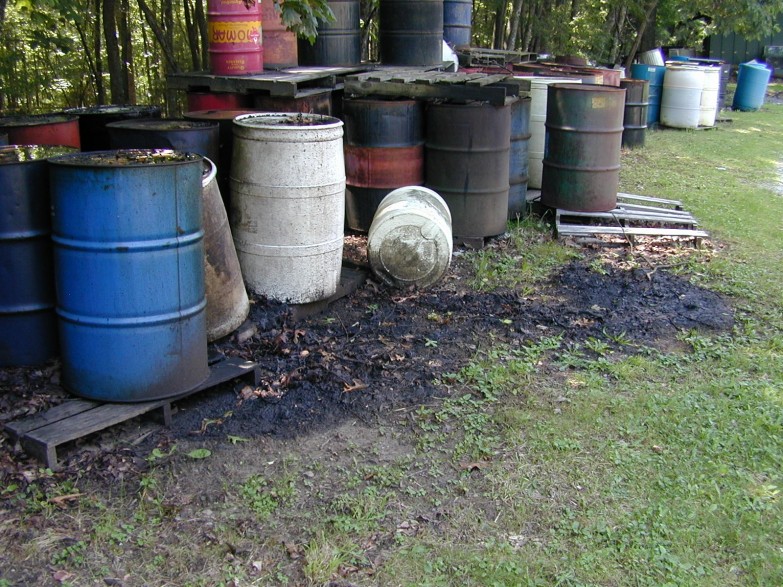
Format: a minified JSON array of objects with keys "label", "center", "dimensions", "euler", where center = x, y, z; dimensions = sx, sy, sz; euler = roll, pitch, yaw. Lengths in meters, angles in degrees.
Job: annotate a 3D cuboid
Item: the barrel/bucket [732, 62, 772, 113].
[{"label":"barrel/bucket","center":[11.750,-6.794,19.543],"dimensions":[0.873,1.521,0.977],"euler":[17,25,38]}]
